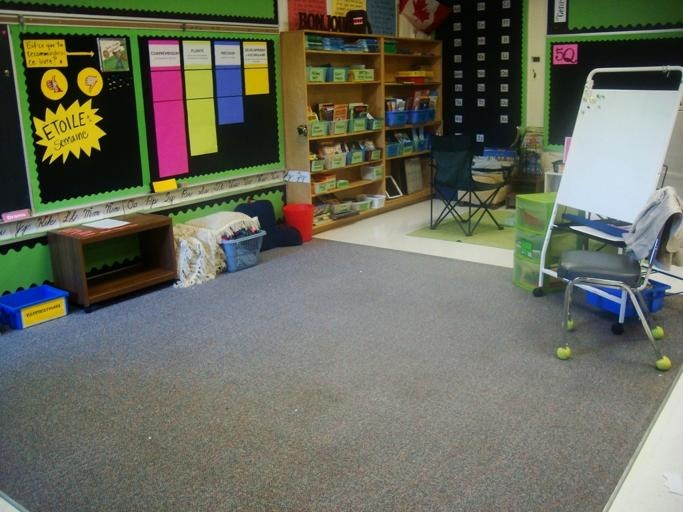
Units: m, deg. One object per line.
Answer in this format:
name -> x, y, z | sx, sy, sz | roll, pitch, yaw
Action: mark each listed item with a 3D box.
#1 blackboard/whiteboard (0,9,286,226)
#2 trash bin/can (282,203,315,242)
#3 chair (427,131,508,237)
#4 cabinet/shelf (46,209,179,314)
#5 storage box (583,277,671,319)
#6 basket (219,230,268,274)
blackboard/whiteboard -> -1.799, -1.472, 4.936 | 2.652, 1.665, 0.384 | -23, 30, -40
trash bin/can -> -0.457, -0.407, 6.015 | 0.405, 0.437, 0.413 | -7, 6, -2
chair -> 1.554, -0.933, 6.281 | 0.781, 1.278, 0.916 | -12, 17, -37
cabinet/shelf -> -2.035, 0.018, 4.560 | 0.516, 0.653, 0.938 | 8, 18, 30
storage box -> 2.128, 0.316, 3.769 | 0.309, 0.170, 0.454 | -11, 18, -33
basket -> -0.974, -0.056, 5.079 | 0.359, 0.338, 0.462 | 7, 15, 40
